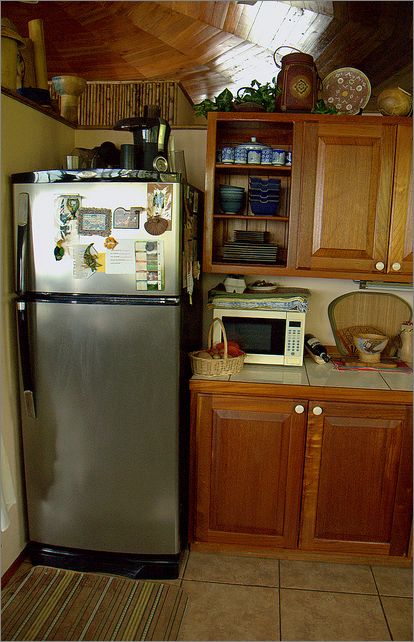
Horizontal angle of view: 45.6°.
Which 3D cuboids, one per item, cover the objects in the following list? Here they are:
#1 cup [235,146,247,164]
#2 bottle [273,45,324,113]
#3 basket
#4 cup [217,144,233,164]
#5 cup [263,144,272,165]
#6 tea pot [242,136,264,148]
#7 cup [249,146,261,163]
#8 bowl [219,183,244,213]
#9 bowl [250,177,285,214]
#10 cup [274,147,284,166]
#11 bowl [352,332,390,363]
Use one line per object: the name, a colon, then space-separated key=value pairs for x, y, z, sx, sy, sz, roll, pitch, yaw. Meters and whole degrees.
cup: x=0.147 y=-0.722 z=2.150 sx=0.061 sy=0.073 sz=0.064 roll=3 pitch=17 yaw=-1
bottle: x=0.384 y=-1.006 z=2.100 sx=0.168 sy=0.243 sz=0.087 roll=4 pitch=11 yaw=6
basket: x=0.046 y=0.104 z=2.179 sx=0.204 sy=0.270 sz=0.296 roll=4 pitch=-1 yaw=-7
cup: x=0.070 y=-0.726 z=2.171 sx=0.102 sy=0.068 sz=0.042 roll=13 pitch=15 yaw=40
cup: x=0.263 y=-0.726 z=2.160 sx=0.053 sy=0.082 sz=0.026 roll=2 pitch=11 yaw=-3
tea pot: x=0.197 y=-0.770 z=2.174 sx=0.073 sy=0.042 sz=0.074 roll=0 pitch=15 yaw=0
cup: x=0.207 y=-0.725 z=2.158 sx=0.055 sy=0.064 sz=0.057 roll=0 pitch=5 yaw=0
bowl: x=0.110 y=-0.560 z=2.262 sx=0.117 sy=0.131 sz=0.120 roll=2 pitch=13 yaw=0
bowl: x=0.256 y=-0.569 z=2.251 sx=0.158 sy=0.197 sz=0.150 roll=-1 pitch=12 yaw=0
cup: x=0.315 y=-0.714 z=2.153 sx=0.061 sy=0.065 sz=0.050 roll=0 pitch=4 yaw=-33
bowl: x=0.780 y=0.120 z=2.325 sx=0.134 sy=0.115 sz=0.135 roll=0 pitch=0 yaw=0
